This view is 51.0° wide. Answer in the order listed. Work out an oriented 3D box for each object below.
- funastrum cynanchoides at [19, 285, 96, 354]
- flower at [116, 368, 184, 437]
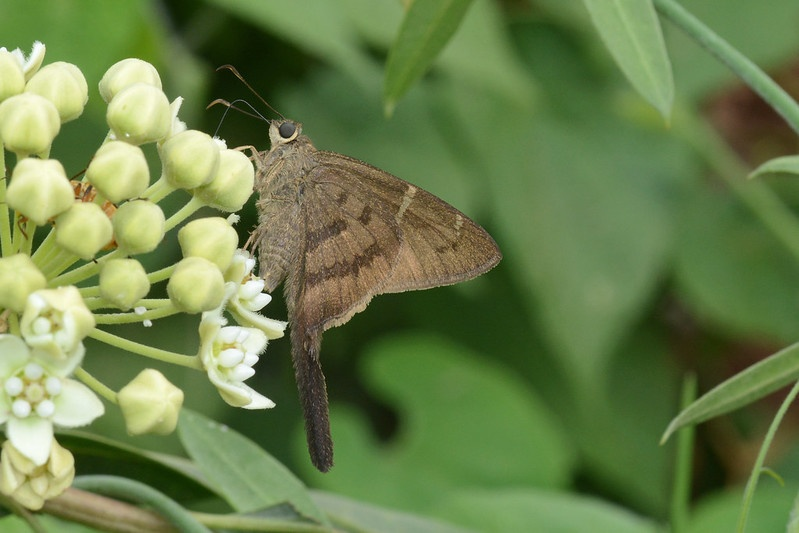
[{"bbox_3d":[-0.959,0.152,2.334,0.177,0.170,0.103,27,6,20],"label":"funastrum cynanchoides"},{"bbox_3d":[-0.769,0.430,2.572,0.196,0.181,0.086,23,5,-16],"label":"flower"}]
